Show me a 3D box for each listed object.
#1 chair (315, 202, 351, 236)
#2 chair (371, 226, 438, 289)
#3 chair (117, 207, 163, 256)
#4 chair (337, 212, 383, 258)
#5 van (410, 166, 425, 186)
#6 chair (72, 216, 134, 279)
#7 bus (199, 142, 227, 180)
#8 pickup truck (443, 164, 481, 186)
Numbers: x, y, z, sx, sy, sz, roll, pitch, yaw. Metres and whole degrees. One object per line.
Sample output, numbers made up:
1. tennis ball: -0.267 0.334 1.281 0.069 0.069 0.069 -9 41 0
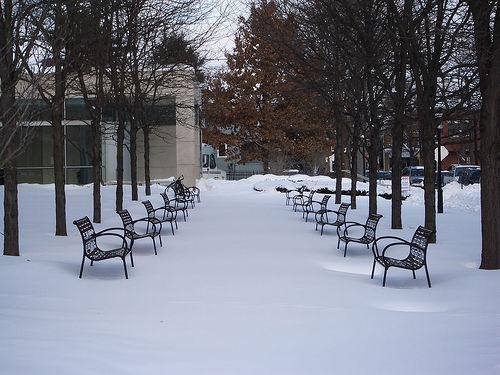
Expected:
1. chair: 2.704 1.057 17.687 1.243 1.392 0.968 0 -3 -10
2. chair: 3.200 1.455 11.315 1.008 1.264 1.282 -2 1 5
3. chair: -2.979 1.140 14.458 0.826 0.796 0.789 -10 -14 -11
4. chair: 3.034 1.063 14.495 1.129 1.176 1.062 8 -36 4
5. van: 12.546 -0.805 40.456 1.071 1.110 2.588 1 21 11
6. chair: -3.176 1.291 11.624 1.122 1.229 1.085 3 4 1
7. bus: -4.131 -2.832 56.827 2.097 4.466 4.491 -1 -1 14
8. pickup truck: 14.211 -0.829 35.068 1.642 1.722 3.801 0 -4 13
